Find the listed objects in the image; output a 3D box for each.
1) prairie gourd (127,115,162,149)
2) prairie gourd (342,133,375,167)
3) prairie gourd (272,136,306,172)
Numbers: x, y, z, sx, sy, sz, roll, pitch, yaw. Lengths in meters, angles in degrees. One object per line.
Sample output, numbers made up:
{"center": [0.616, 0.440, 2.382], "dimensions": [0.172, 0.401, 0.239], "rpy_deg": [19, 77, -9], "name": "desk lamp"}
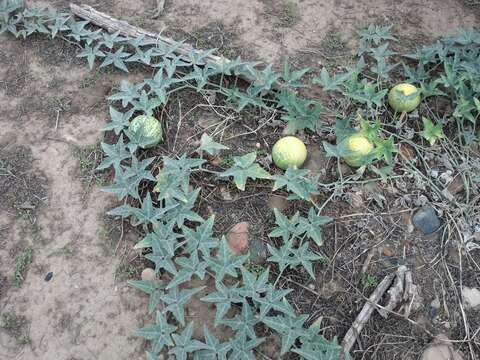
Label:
{"center": [-0.921, -0.523, 3.876], "dimensions": [0.282, 0.171, 0.322], "rpy_deg": [-9, 105, 11], "name": "prairie gourd"}
{"center": [1.161, -0.267, 3.868], "dimensions": [0.267, 0.286, 0.375], "rpy_deg": [12, 94, 20], "name": "prairie gourd"}
{"center": [0.457, -0.276, 3.838], "dimensions": [0.279, 0.324, 0.302], "rpy_deg": [-11, 38, -10], "name": "prairie gourd"}
